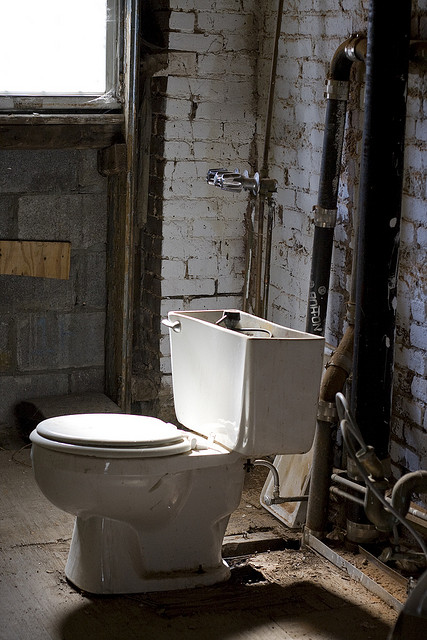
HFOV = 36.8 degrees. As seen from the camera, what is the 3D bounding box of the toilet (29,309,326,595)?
[{"bbox_3d":[-0.130,0.346,1.694,0.650,0.686,0.496,2,4,-21],"label":"toilet"}]
